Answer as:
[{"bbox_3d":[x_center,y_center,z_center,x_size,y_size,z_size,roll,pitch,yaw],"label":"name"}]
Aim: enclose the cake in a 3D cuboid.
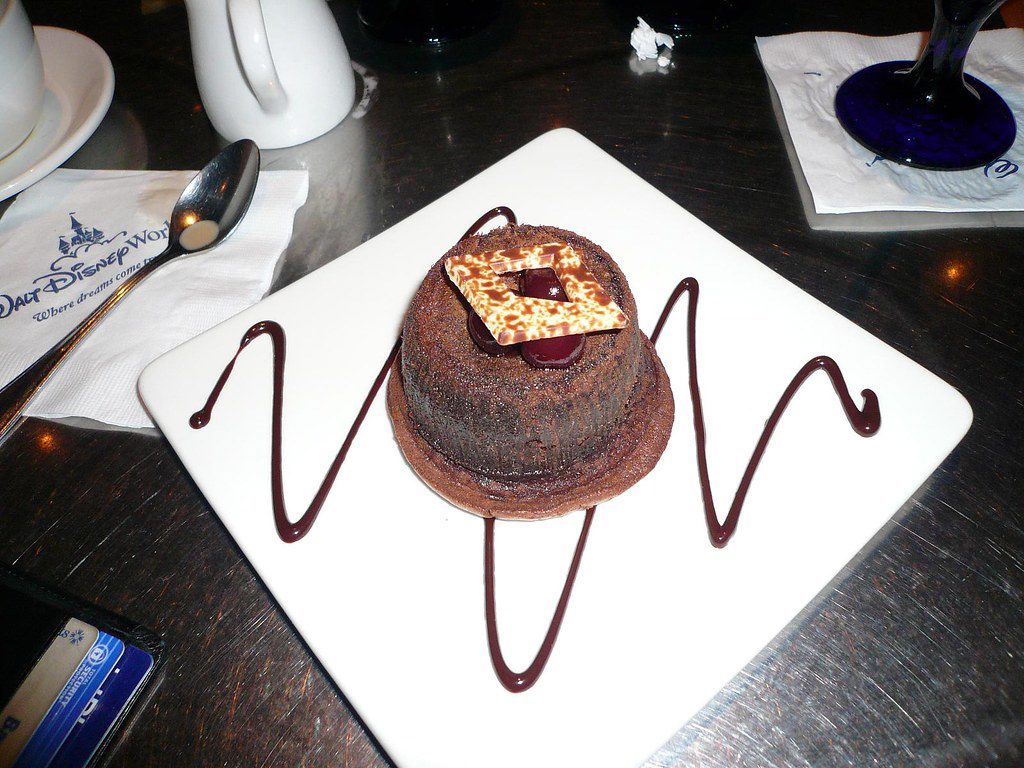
[{"bbox_3d":[0.067,-0.040,1.538,0.550,0.249,0.606,9,48,18],"label":"cake"}]
